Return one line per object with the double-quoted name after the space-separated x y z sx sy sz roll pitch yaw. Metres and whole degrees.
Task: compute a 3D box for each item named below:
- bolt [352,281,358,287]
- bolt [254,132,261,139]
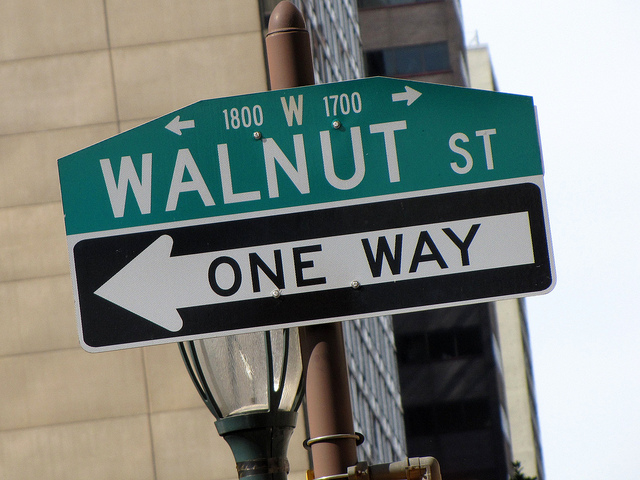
0.566 0.742 26.091 0.067 0.075 0.017 -1 -3 -1 "bolt"
-1.018 -1.631 26.188 0.067 0.110 0.036 -1 3 3 "bolt"
